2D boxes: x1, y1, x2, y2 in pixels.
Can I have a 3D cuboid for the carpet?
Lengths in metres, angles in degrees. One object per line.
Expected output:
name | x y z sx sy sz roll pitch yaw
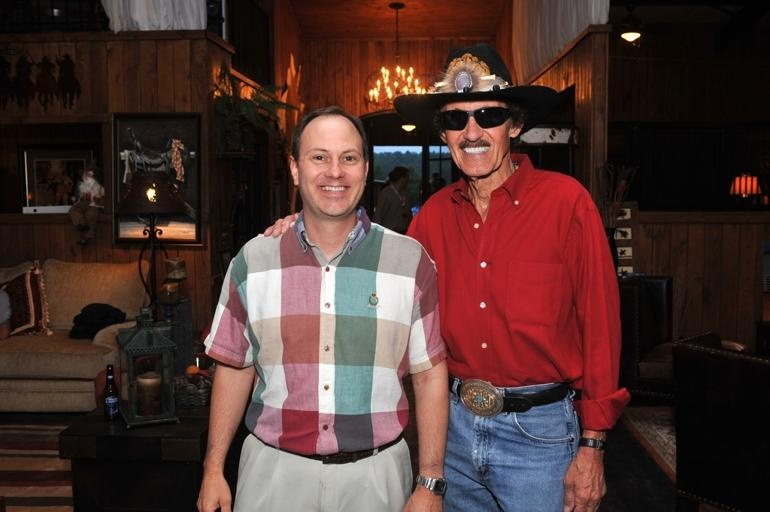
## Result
carpet | 2.369 1.706 5.972 0.314 0.019 0.899 6 13 0

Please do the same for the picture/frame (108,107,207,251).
picture/frame | -2.389 -0.801 6.797 0.966 1.382 0.994 0 2 -5

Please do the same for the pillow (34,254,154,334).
pillow | -3.041 0.338 6.787 0.960 0.983 0.290 2 -12 -8

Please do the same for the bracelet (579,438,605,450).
bracelet | 1.118 1.022 3.643 0.115 0.072 0.108 4 -14 38

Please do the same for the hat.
hat | 0.612 -1.077 4.040 0.843 0.360 0.912 -2 8 19
